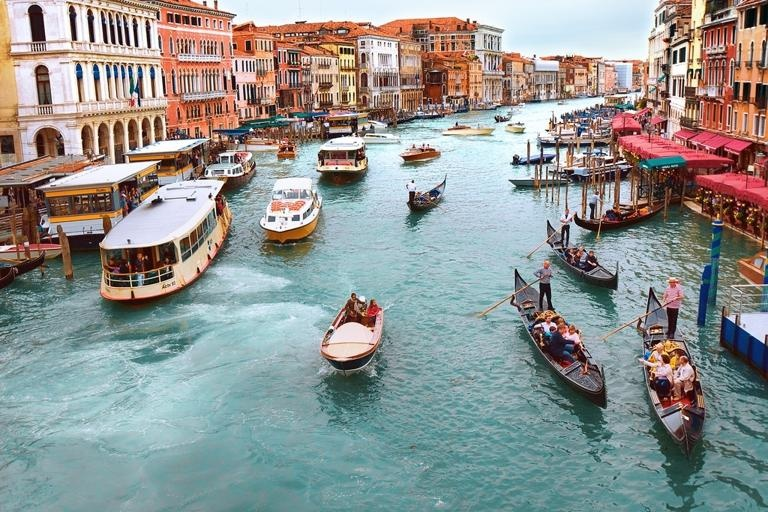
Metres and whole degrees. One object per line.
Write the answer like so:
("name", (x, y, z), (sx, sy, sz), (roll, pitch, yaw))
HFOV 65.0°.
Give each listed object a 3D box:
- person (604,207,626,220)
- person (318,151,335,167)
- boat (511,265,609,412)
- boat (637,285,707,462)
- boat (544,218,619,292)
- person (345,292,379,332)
("person", (18.106, -3.269, 47.063), (1.048, 0.681, 1.848), (1, 10, 19))
("person", (-6.311, -10.885, 66.731), (1.437, 0.834, 2.346), (0, 34, -2))
("boat", (7.803, 3.886, 28.080), (1.605, 1.879, 7.938), (-14, 33, -5))
("boat", (11.910, 4.409, 25.659), (1.786, 1.567, 8.889), (-5, 31, 10))
("boat", (12.134, 0.103, 37.808), (1.601, 2.214, 7.573), (-12, 30, -15))
("person", (-1.113, 2.665, 29.743), (1.391, 0.720, 1.807), (9, 43, 3))
